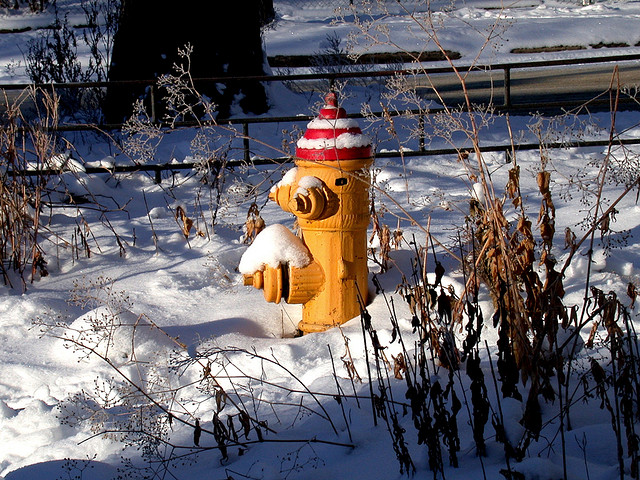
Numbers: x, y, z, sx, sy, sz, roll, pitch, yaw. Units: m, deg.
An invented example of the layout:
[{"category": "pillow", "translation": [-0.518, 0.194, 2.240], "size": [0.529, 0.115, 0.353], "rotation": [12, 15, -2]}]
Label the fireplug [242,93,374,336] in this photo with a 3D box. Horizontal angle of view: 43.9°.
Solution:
[{"category": "fireplug", "translation": [-0.094, -0.047, 5.195], "size": [0.774, 1.750, 0.763], "rotation": [-5, 17, -12]}]
